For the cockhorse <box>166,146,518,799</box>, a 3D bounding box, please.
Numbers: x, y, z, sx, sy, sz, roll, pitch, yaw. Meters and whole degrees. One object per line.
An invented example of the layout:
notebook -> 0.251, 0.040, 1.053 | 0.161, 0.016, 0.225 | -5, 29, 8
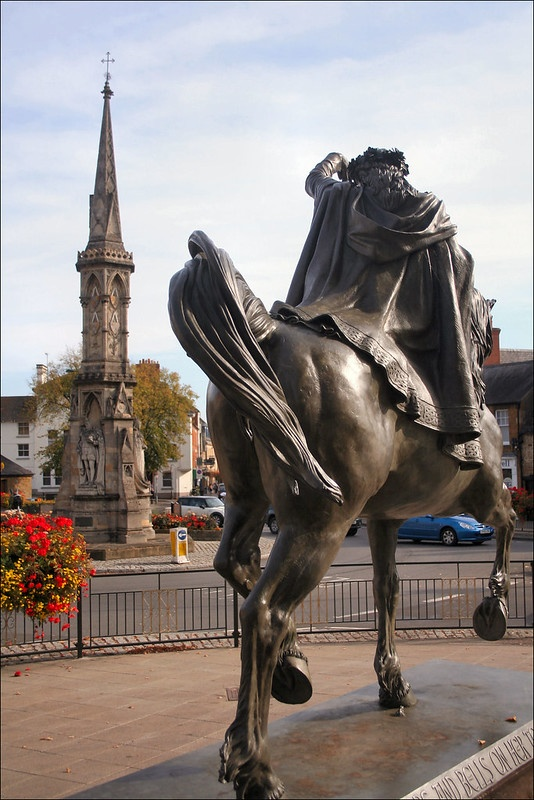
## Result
cockhorse -> 0.473, 0.237, 7.756 | 1.199, 2.863, 2.298 | -3, -1, 32

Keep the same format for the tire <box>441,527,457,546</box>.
tire -> 4.265, 3.195, 30.874 | 0.154, 0.415, 0.420 | -7, -6, -37
